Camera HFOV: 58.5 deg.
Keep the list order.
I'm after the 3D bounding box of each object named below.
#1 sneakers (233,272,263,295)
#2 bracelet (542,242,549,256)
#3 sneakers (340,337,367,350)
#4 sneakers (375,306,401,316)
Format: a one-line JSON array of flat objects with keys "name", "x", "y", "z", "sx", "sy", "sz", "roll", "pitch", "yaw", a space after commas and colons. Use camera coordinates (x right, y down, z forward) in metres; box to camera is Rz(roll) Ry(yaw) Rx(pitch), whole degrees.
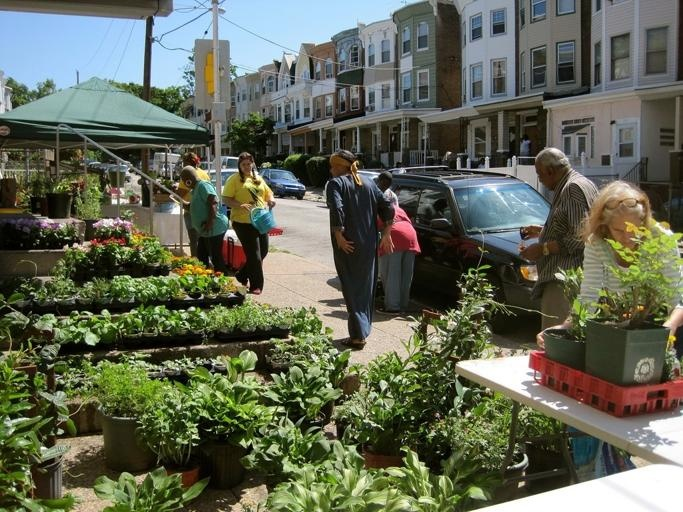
[{"name": "sneakers", "x": -1.380, "y": 0.373, "z": 9.037, "sx": 0.200, "sy": 0.252, "sz": 0.575, "roll": -27, "pitch": 28, "yaw": -30}, {"name": "bracelet", "x": 1.708, "y": -0.056, "z": 5.100, "sx": 0.085, "sy": 0.083, "sz": 0.082, "roll": -3, "pitch": 48, "yaw": 3}, {"name": "sneakers", "x": 0.145, "y": 0.960, "z": 6.680, "sx": 0.108, "sy": 0.106, "sz": 0.262, "roll": -6, "pitch": 12, "yaw": -36}, {"name": "sneakers", "x": 0.642, "y": 0.760, "z": 8.717, "sx": 0.360, "sy": 0.156, "sz": 0.124, "roll": 3, "pitch": 6, "yaw": 36}]
